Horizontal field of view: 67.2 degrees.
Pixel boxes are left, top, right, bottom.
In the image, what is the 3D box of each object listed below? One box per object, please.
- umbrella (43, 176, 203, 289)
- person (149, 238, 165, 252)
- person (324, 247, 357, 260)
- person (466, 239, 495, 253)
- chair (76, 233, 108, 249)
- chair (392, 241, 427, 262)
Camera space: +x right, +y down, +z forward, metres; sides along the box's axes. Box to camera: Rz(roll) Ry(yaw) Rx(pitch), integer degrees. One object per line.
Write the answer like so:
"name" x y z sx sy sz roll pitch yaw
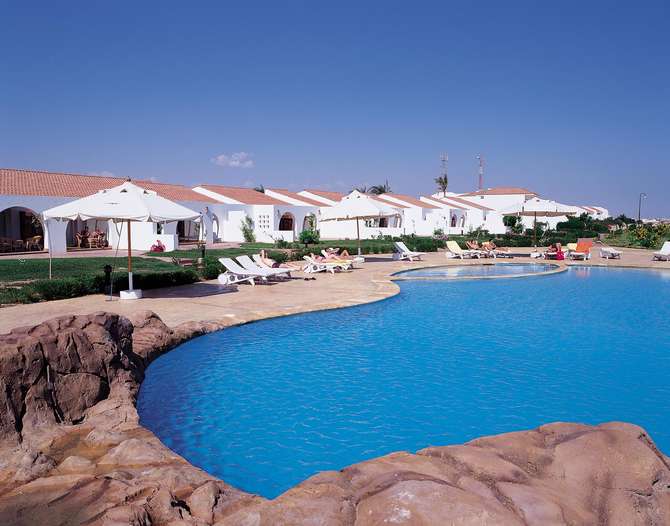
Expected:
"umbrella" -5.915 -0.742 14.572 3.938 2.631 4.197 5 5 43
"person" -11.515 -0.977 32.390 0.891 0.450 0.914 -1 -1 -1
"person" 0.281 -0.395 22.539 2.082 0.650 0.597 -1 0 8
"person" 8.359 -1.054 29.593 1.390 0.530 1.604 3 -3 -16
"chair" -16.561 -1.416 33.842 1.981 0.885 1.245 0 3 28
"chair" 3.589 -0.560 26.273 1.899 0.912 1.164 4 6 19
